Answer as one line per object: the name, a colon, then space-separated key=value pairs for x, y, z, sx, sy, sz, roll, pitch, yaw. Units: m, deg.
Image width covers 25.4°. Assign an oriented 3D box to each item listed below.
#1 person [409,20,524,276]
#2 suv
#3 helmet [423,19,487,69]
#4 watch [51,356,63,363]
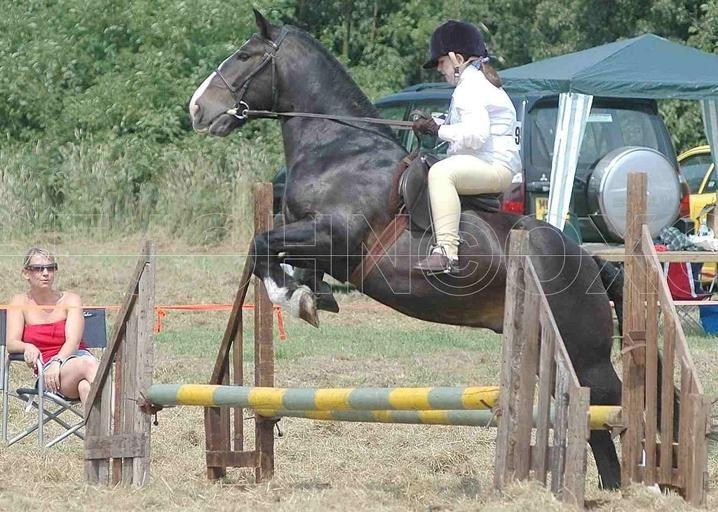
person: x=1.283 y=-1.309 z=18.950 sx=1.092 sy=2.976 sz=0.603 roll=-1 pitch=2 yaw=7
suv: x=2.965 y=-0.843 z=24.292 sx=5.423 sy=2.897 sz=2.986 roll=1 pitch=-1 yaw=35
helmet: x=1.132 y=-2.537 z=19.131 sx=0.656 sy=0.455 sz=0.493 roll=-2 pitch=5 yaw=8
watch: x=-3.763 y=1.253 z=19.780 sx=0.102 sy=0.039 sz=0.059 roll=31 pitch=3 yaw=8
